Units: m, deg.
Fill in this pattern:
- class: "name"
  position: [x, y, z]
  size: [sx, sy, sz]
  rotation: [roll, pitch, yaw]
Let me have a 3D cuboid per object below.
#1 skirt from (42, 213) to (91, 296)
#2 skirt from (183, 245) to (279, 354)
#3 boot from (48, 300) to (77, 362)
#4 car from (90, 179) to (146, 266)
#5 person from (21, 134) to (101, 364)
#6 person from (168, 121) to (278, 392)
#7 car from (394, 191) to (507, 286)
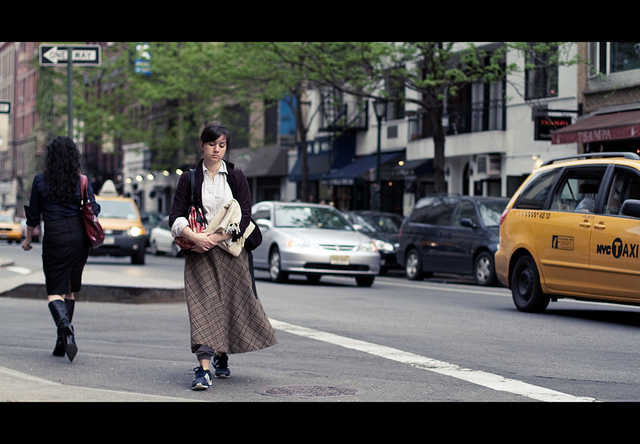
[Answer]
- class: "skirt"
  position: [-2.768, 0.353, 9.458]
  size: [0.504, 0.900, 0.321]
  rotation: [-1, 5, -18]
- class: "skirt"
  position: [-0.815, 0.690, 8.320]
  size: [0.786, 0.462, 1.592]
  rotation: [-11, 36, 5]
- class: "boot"
  position: [-2.699, 1.080, 9.126]
  size: [0.262, 0.710, 0.284]
  rotation: [-23, -39, -1]
- class: "car"
  position: [-6.393, 0.093, 26.467]
  size: [1.995, 2.040, 3.897]
  rotation: [2, 3, -11]
- class: "person"
  position: [-2.770, 0.144, 9.351]
  size: [0.570, 2.134, 0.777]
  rotation: [-3, 6, -38]
- class: "person"
  position: [-0.948, 0.289, 8.131]
  size: [0.833, 2.428, 0.636]
  rotation: [-2, 5, -26]
- class: "car"
  position: [3.810, 0.473, 20.701]
  size: [2.176, 2.134, 4.298]
  rotation: [7, -4, -30]
